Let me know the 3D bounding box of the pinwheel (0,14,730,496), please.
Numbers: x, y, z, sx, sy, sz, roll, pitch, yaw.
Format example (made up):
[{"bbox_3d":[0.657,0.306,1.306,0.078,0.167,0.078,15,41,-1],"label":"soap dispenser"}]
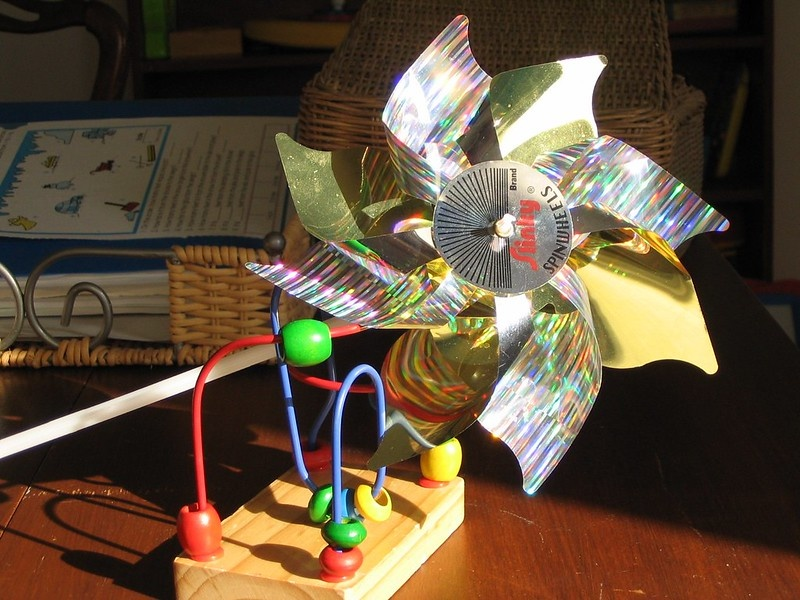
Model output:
[{"bbox_3d":[0.060,-0.013,0.497,0.323,0.339,0.131,1,15,-13],"label":"pinwheel"}]

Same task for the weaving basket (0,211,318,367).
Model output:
[{"bbox_3d":[-0.248,0.003,0.760,0.262,0.100,0.172,-5,9,1],"label":"weaving basket"}]
